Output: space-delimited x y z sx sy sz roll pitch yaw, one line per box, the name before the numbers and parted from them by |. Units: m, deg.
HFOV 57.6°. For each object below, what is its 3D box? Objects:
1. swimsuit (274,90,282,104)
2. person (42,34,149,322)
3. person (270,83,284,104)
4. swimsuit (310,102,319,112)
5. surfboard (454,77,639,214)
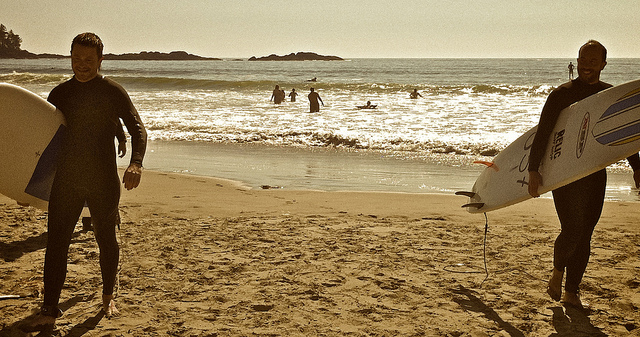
swimsuit | -1.695 -2.879 23.676 0.321 0.498 0.253 0 14 -7
person | -2.302 0.122 5.893 1.082 2.885 0.636 -2 15 -14
person | -1.694 -3.019 23.833 0.438 0.717 0.671 0 13 -5
swimsuit | -0.199 -2.210 20.805 0.409 0.290 0.085 2 16 -1
surfboard | 2.505 -0.158 6.178 0.684 1.564 1.573 -10 18 -39
